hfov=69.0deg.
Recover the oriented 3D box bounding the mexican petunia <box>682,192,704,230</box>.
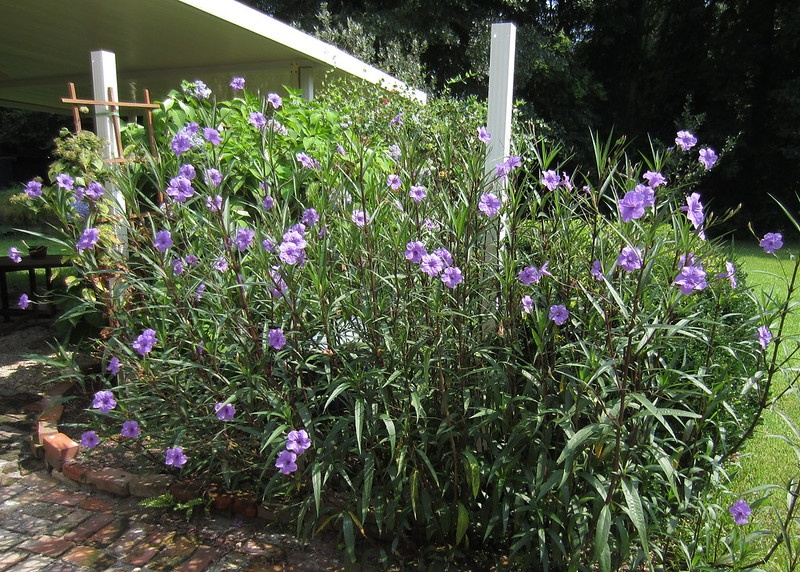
[{"bbox_3d":[1.103,-0.307,2.167,0.102,0.095,0.034,1,-15,-42],"label":"mexican petunia"}]

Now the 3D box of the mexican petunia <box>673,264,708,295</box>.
[{"bbox_3d":[1.096,-0.024,2.205,0.115,0.133,0.045,-13,2,4],"label":"mexican petunia"}]
